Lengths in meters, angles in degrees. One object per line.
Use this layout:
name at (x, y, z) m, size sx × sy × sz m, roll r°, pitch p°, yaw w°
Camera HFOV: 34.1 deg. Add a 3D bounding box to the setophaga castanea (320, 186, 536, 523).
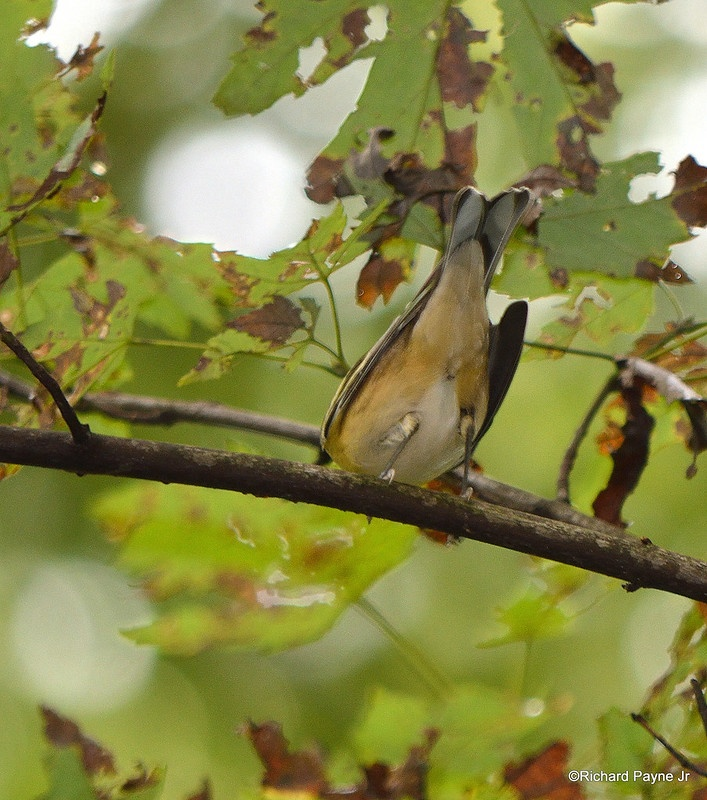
setophaga castanea at (0.246, -0.114, 3.782) m, size 0.470 × 0.532 × 1.138 m, roll 11°, pitch -68°, yaw -25°
